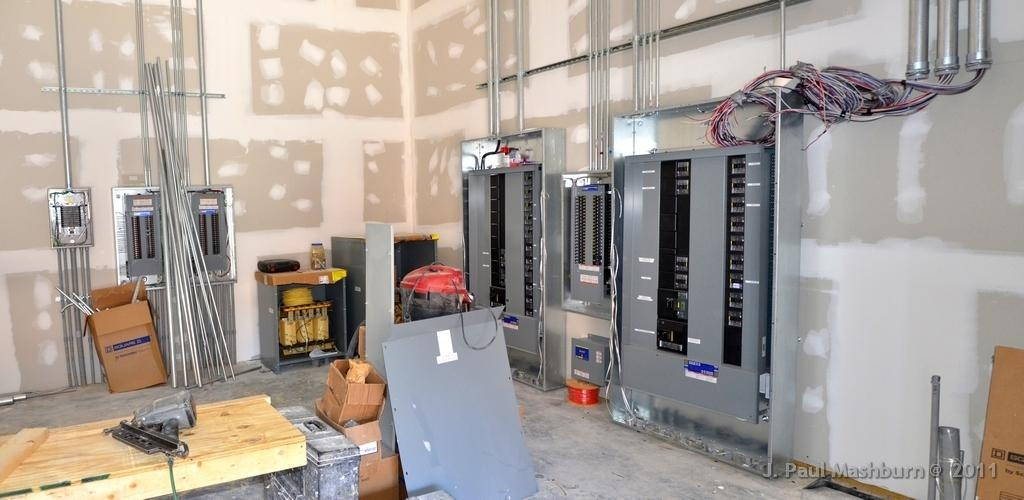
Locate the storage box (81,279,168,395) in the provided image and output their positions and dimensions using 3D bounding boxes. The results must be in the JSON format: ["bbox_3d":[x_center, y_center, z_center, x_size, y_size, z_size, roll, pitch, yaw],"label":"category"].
[{"bbox_3d":[-5.601,1.244,8.890,0.796,1.525,0.527,-10,10,-28],"label":"storage box"}]

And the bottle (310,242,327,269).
[{"bbox_3d":[-3.184,0.081,9.978,0.286,0.409,0.349,-7,9,-16],"label":"bottle"}]
